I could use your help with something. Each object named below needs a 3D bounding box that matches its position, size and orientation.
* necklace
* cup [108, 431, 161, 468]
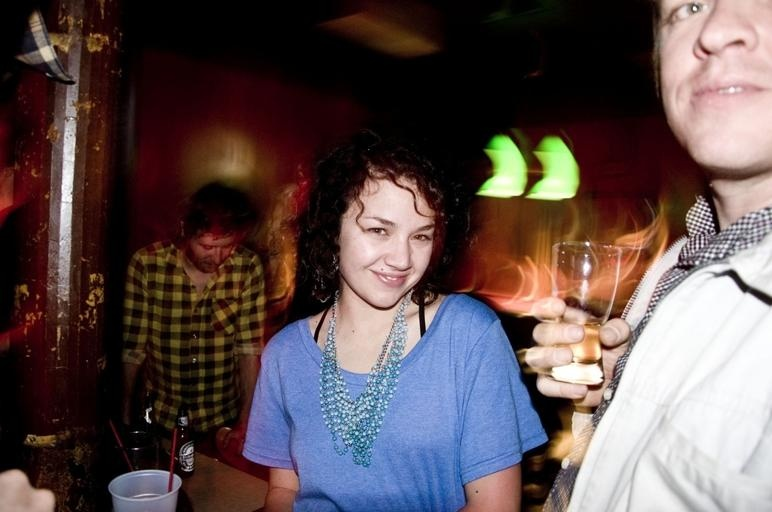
[{"bbox_3d":[-0.116,0.564,2.946,0.409,0.724,0.331,3,-1,8],"label":"necklace"},{"bbox_3d":[-1.129,0.860,2.863,0.151,0.163,0.246,-8,13,-41],"label":"cup"}]
